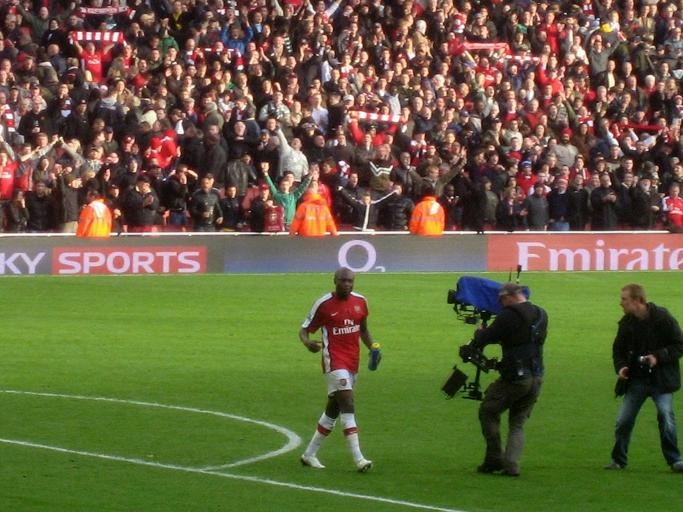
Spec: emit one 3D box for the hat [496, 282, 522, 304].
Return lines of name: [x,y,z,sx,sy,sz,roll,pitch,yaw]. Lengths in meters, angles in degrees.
hat: [2.560,0.605,24.232,0.291,0.331,0.357,-6,1,-37]

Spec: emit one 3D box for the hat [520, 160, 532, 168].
hat: [4.674,-2.316,39.766,0.232,0.208,0.329,1,13,-3]

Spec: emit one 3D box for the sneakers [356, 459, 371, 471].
sneakers: [0.328,3.243,24.061,0.324,0.139,0.121,-27,-2,43]

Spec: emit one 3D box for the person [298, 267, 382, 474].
person: [-0.054,1.807,24.341,1.217,3.114,1.372,2,14,0]

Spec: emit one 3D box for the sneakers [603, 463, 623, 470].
sneakers: [4.249,3.328,24.564,0.297,0.114,0.103,2,-7,8]

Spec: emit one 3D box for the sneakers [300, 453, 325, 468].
sneakers: [-0.462,3.220,24.429,0.392,0.139,0.190,6,-7,2]

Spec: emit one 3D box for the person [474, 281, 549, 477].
person: [2.581,1.909,24.241,0.885,2.882,1.047,11,17,31]
